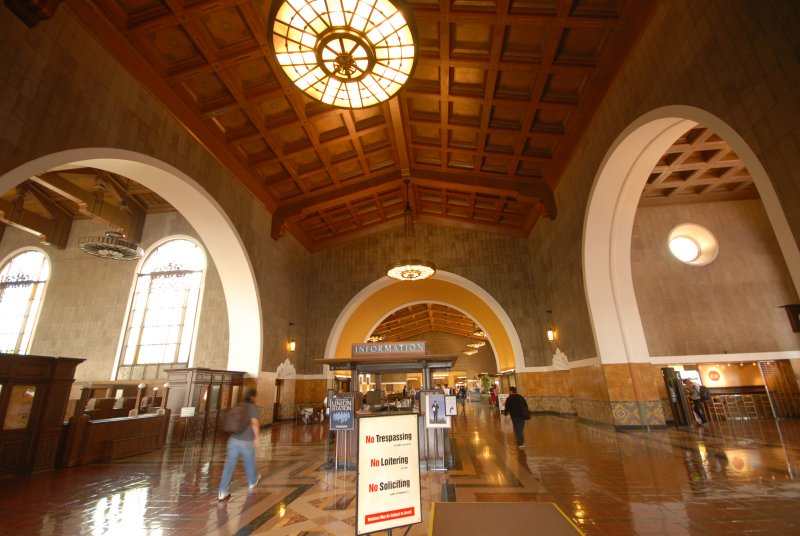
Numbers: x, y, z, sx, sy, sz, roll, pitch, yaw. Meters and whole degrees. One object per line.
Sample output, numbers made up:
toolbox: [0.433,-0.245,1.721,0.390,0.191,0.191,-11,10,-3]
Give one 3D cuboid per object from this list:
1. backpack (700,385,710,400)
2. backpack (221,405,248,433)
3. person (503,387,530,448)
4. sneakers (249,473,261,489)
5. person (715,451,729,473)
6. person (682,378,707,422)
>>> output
backpack: [9.173,3.752,12.131,0.438,0.371,0.169,11,-25,-36]
backpack: [-2.923,2.680,7.161,0.373,0.509,0.201,4,-22,-20]
person: [2.935,3.691,10.070,0.529,1.361,1.663,-8,-20,12]
sneakers: [-2.688,3.966,7.528,0.112,0.125,0.337,15,-4,8]
person: [6.194,3.706,7.747,0.200,0.144,1.394,-16,-22,32]
person: [8.953,4.029,12.212,0.369,1.286,0.774,-16,-24,30]
